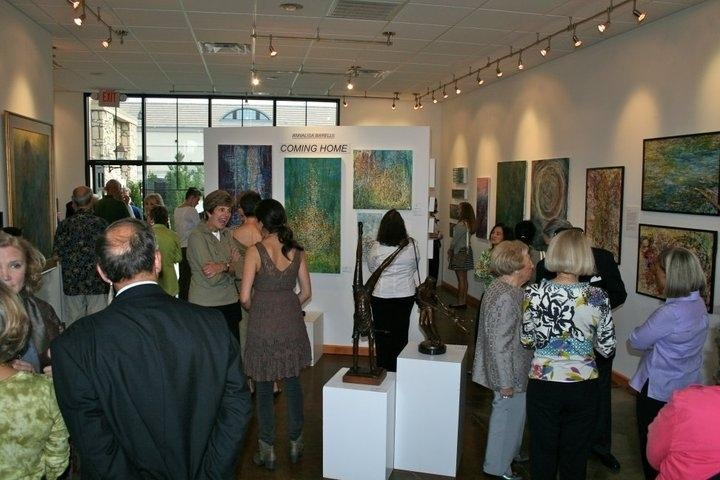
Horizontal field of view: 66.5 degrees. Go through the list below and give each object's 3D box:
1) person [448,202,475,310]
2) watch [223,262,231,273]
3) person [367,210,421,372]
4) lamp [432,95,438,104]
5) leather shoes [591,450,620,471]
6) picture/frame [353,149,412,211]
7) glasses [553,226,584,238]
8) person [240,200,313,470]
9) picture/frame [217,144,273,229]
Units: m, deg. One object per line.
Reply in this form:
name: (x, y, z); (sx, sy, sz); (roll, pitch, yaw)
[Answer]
person: (1.955, 0.325, 10.619); (0.499, 2.056, 1.118); (2, 3, 11)
watch: (-1.341, 0.289, 5.541); (0.080, 0.101, 0.038); (0, 1, -21)
person: (0.329, 0.585, 5.712); (0.508, 1.763, 0.691); (2, 3, 7)
lamp: (1.734, -3.231, 12.789); (0.100, 0.215, 0.115); (-1, -14, 2)
leather shoes: (2.359, 2.116, 5.294); (0.098, 0.098, 0.277); (-9, -1, -17)
picture/frame: (0.351, -0.869, 7.838); (0.886, 0.916, 0.035); (1, 5, 2)
glasses: (1.740, -0.078, 4.641); (0.218, 0.075, 0.235); (-1, -6, -4)
person: (-0.770, 0.879, 5.078); (0.641, 2.473, 0.461); (1, 3, -7)
picture/frame: (-1.664, -0.883, 8.127); (0.715, 1.127, 0.020); (0, 43, -8)
